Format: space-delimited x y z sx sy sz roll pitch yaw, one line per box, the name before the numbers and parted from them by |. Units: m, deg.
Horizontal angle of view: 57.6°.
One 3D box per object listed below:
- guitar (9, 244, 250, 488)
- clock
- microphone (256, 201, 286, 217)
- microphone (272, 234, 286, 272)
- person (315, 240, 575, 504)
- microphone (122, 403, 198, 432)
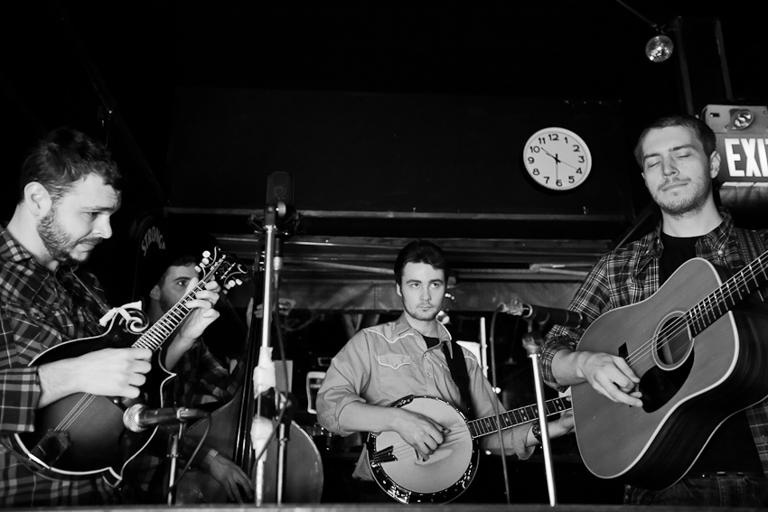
guitar | -1.134 0.429 3.436 0.628 1.325 0.196 37 -16 17
clock | 1.322 -0.723 5.369 0.557 0.553 0.050 3 -18 -6
microphone | -0.512 -0.222 3.222 0.087 0.061 0.063 -9 20 -20
microphone | -0.489 -0.010 3.213 0.038 0.178 0.086 4 -10 -3
person | 0.325 0.691 4.320 1.246 1.254 0.642 14 -26 -12
microphone | -0.924 0.684 2.904 0.376 0.116 0.156 -3 -12 34
